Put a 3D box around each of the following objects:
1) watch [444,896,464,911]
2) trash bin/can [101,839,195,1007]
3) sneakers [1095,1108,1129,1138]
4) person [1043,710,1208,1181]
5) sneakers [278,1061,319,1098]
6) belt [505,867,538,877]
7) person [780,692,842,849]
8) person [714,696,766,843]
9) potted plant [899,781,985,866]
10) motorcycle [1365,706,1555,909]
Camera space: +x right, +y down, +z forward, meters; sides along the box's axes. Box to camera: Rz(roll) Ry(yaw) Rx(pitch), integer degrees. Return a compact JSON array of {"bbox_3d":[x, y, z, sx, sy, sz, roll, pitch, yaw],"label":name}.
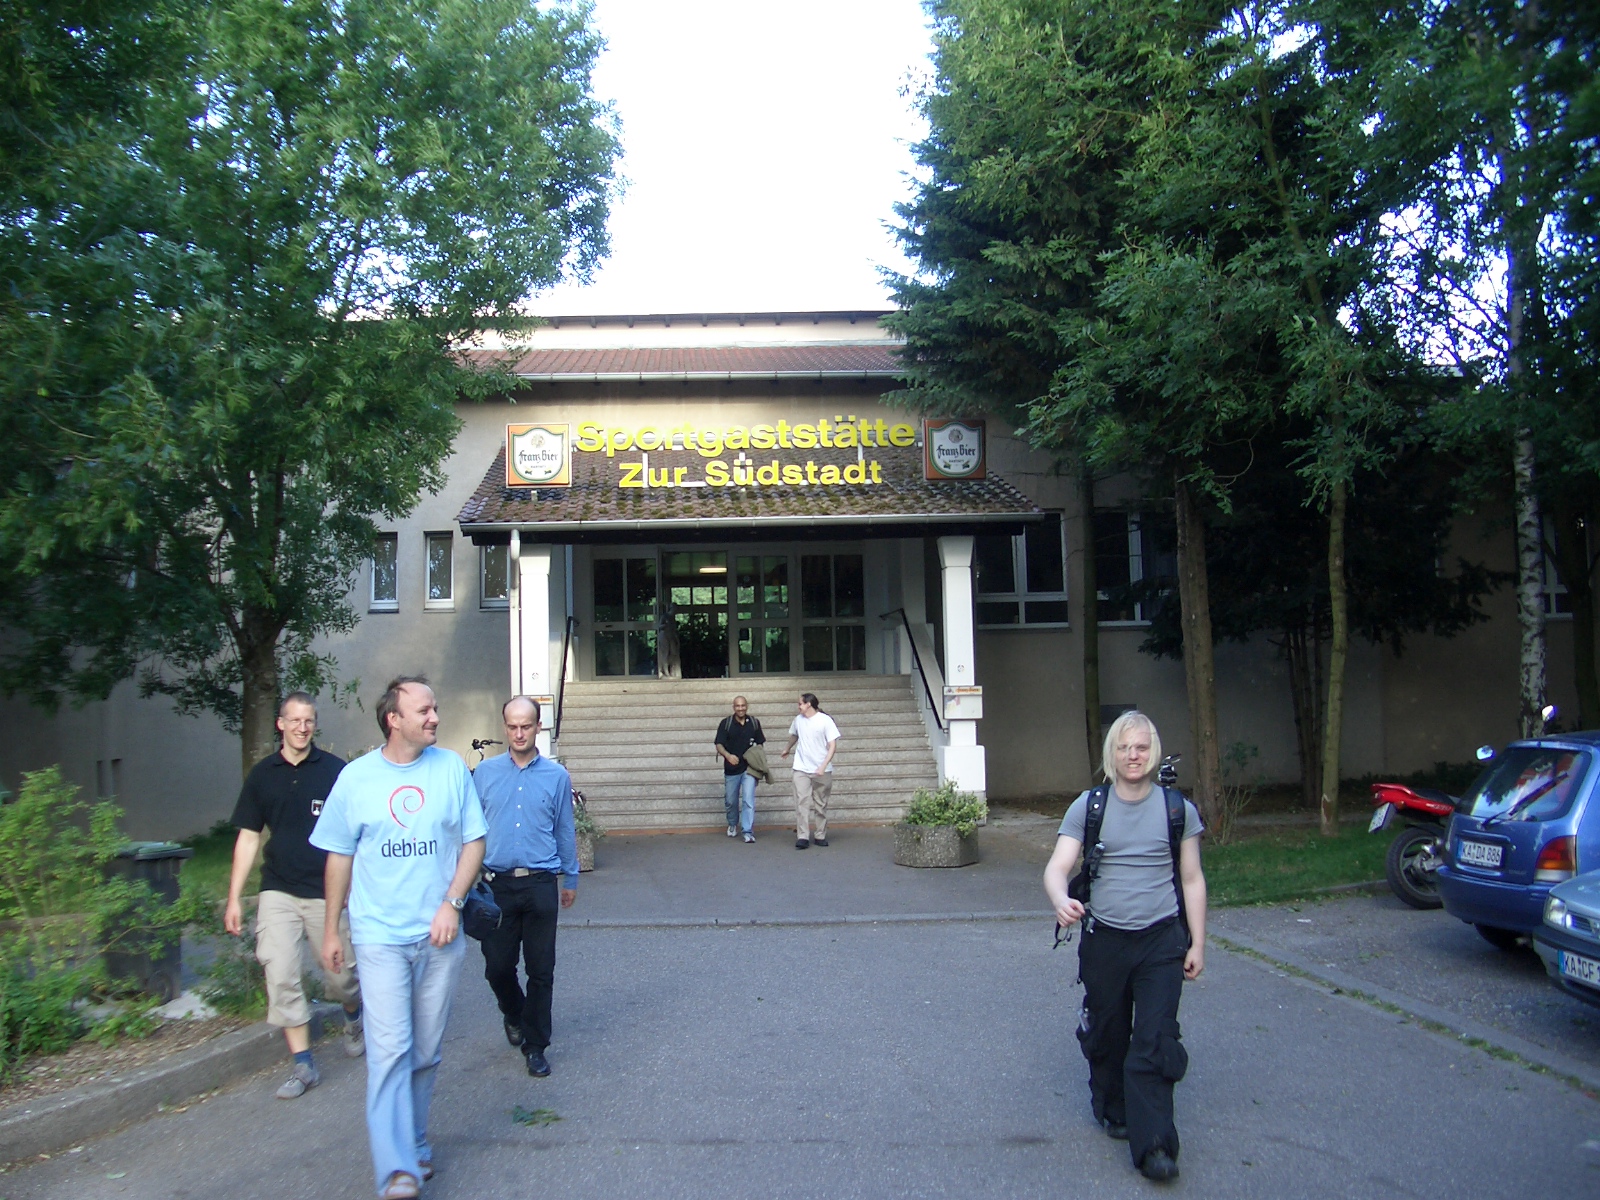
[{"bbox_3d":[-1.850,1.625,7.105,0.076,0.092,0.055,0,-7,-14],"label":"watch"},{"bbox_3d":[-4.804,2.421,9.756,0.529,1.134,1.427,-1,1,-25],"label":"trash bin/can"},{"bbox_3d":[1.799,3.024,7.662,0.082,0.180,0.178,-3,-12,0],"label":"sneakers"},{"bbox_3d":[1.826,1.859,7.411,0.818,2.436,0.722,0,1,17],"label":"person"},{"bbox_3d":[-3.199,3.058,8.470,0.106,0.153,0.316,1,-10,4],"label":"sneakers"},{"bbox_3d":[-1.820,1.779,8.690,0.140,0.053,0.015,0,1,-9],"label":"belt"},{"bbox_3d":[0.186,2.377,18.818,0.661,2.138,1.252,0,1,-1],"label":"person"},{"bbox_3d":[-0.864,2.442,19.328,0.718,2.091,0.903,0,1,-8],"label":"person"},{"bbox_3d":[1.760,2.886,17.116,0.967,1.020,0.971,9,-10,-36],"label":"potted plant"},{"bbox_3d":[6.962,2.213,13.438,2.520,1.661,1.119,-1,-8,-7],"label":"motorcycle"}]
